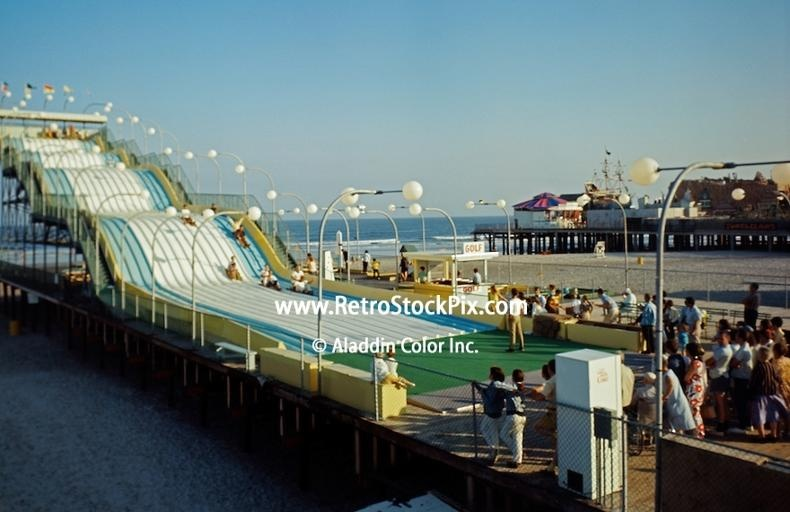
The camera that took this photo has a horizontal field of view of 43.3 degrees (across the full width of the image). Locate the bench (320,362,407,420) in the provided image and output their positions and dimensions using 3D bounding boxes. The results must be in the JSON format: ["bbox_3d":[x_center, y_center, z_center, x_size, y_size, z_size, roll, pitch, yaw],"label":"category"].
[{"bbox_3d":[-1.340,4.773,36.246,1.049,1.228,3.544,-8,12,-43],"label":"bench"}]

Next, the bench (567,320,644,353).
[{"bbox_3d":[8.606,3.170,40.904,3.037,0.785,0.812,6,16,25],"label":"bench"}]
